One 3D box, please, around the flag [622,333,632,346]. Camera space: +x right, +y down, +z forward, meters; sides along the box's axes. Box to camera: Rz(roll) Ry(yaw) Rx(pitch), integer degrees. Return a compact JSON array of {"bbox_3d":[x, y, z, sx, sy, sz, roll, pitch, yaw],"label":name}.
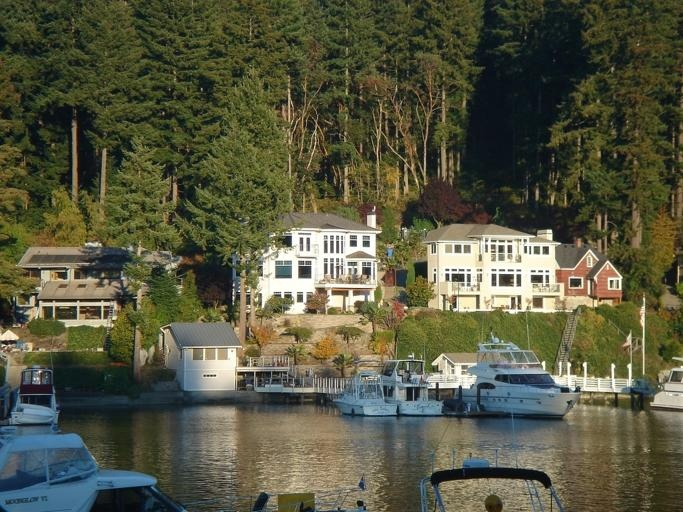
[{"bbox_3d":[31.076,9.099,184.459,1.054,2.419,0.311,8,-41,19],"label":"flag"}]
